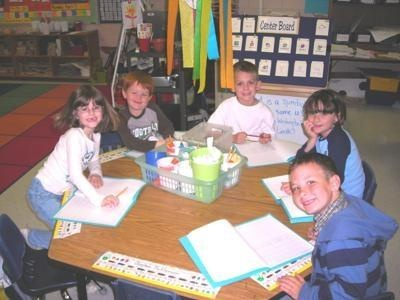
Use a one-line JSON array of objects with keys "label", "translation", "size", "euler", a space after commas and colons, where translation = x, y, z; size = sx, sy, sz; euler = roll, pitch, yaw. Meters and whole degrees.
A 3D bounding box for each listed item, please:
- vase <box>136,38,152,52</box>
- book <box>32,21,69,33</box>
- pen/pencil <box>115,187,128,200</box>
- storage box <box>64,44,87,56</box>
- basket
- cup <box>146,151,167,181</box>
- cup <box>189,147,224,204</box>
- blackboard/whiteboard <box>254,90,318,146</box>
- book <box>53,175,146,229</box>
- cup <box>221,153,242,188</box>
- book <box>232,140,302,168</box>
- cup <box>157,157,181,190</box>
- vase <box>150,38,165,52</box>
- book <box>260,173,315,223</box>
[{"label": "vase", "translation": [-0.612, -1.147, 3.659], "size": [0.112, 0.107, 0.138], "euler": [15, 26, 32]}, {"label": "book", "translation": [-2.809, -2.292, 6.260], "size": [0.689, 0.226, 0.406], "euler": [9, 22, 21]}, {"label": "pen/pencil", "translation": [-0.429, 0.233, 1.826], "size": [0.020, 0.014, 0.134], "euler": [22, 21, 8]}, {"label": "storage box", "translation": [-2.344, -1.869, 6.307], "size": [0.340, 0.119, 0.243], "euler": [11, 29, 23]}, {"label": "basket", "translation": [0.053, 0.064, 1.861], "size": [0.349, 0.117, 0.401], "euler": [12, 18, 28]}, {"label": "cup", "translation": [-0.257, 0.084, 1.907], "size": [0.152, 0.137, 0.122], "euler": [9, 21, 10]}, {"label": "cup", "translation": [0.053, 0.123, 1.792], "size": [0.223, 0.263, 0.267], "euler": [-2, 24, 3]}, {"label": "blackboard/whiteboard", "translation": [0.712, -0.288, 2.783], "size": [0.543, 0.522, 0.024], "euler": [12, 33, 26]}, {"label": "book", "translation": [-0.535, 0.260, 1.702], "size": [0.243, 0.044, 0.263], "euler": [6, 29, 14]}, {"label": "cup", "translation": [0.181, 0.124, 1.841], "size": [0.127, 0.167, 0.176], "euler": [8, 40, 13]}, {"label": "book", "translation": [0.441, 0.014, 2.183], "size": [0.246, 0.034, 0.211], "euler": [-8, 24, -6]}, {"label": "cup", "translation": [-0.170, 0.119, 1.838], "size": [0.160, 0.124, 0.138], "euler": [6, 25, 19]}, {"label": "vase", "translation": [-0.454, -1.137, 3.671], "size": [0.157, 0.094, 0.151], "euler": [-4, 27, -1]}, {"label": "book", "translation": [0.434, 0.251, 1.775], "size": [0.167, 0.052, 0.304], "euler": [-6, 34, -12]}]
